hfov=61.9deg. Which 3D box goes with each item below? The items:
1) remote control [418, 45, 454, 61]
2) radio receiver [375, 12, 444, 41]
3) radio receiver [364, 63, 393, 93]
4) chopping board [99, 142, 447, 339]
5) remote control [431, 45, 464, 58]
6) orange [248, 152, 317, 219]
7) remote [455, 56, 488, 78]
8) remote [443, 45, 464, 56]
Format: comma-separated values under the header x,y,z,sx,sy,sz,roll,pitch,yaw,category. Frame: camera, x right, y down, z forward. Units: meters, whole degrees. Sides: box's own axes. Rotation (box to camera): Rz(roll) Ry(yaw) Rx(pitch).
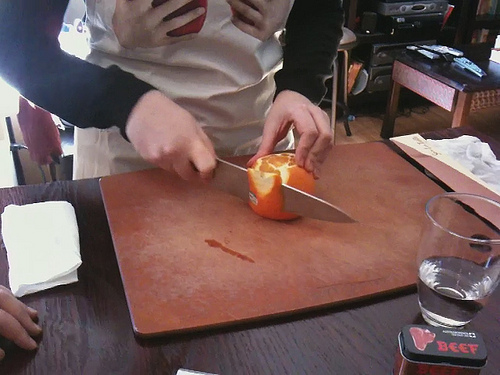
x,y,z,sx,sy,sz,roll,pitch,yaw,category
1.119,-0.804,2.524,0.072,0.065,0.241,-30,39,0,remote control
1.293,-1.289,3.325,0.514,0.210,0.092,-8,31,-16,radio receiver
1.086,-0.937,3.501,0.206,0.221,0.145,-7,33,-6,radio receiver
0.087,0.039,0.987,0.811,0.167,0.628,-11,34,-21,chopping board
1.159,-0.788,2.464,0.085,0.038,0.157,-8,38,-44,remote control
0.067,-0.030,1.021,0.140,0.142,0.144,-11,19,-33,orange
1.188,-0.663,2.250,0.048,0.044,0.189,-20,43,-9,remote
1.205,-0.817,2.480,0.118,0.028,0.222,19,35,25,remote
